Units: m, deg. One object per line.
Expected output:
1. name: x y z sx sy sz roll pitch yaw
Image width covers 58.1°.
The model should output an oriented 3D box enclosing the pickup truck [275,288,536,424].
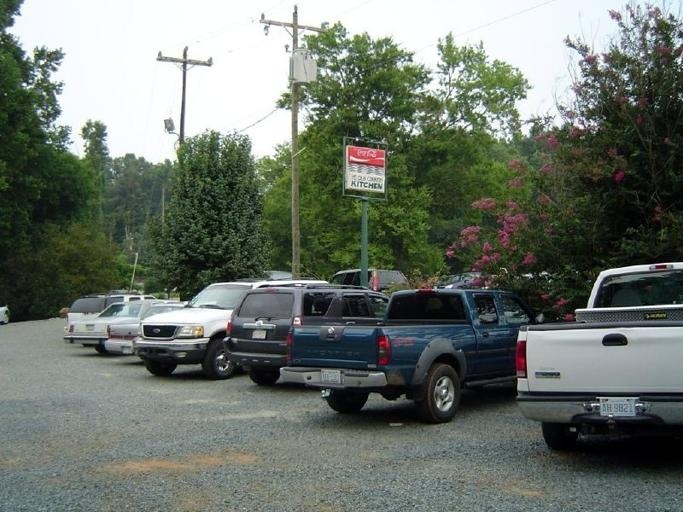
1. pickup truck: 1.199 1.575 10.113 3.775 2.026 1.617 2 -4 -39
